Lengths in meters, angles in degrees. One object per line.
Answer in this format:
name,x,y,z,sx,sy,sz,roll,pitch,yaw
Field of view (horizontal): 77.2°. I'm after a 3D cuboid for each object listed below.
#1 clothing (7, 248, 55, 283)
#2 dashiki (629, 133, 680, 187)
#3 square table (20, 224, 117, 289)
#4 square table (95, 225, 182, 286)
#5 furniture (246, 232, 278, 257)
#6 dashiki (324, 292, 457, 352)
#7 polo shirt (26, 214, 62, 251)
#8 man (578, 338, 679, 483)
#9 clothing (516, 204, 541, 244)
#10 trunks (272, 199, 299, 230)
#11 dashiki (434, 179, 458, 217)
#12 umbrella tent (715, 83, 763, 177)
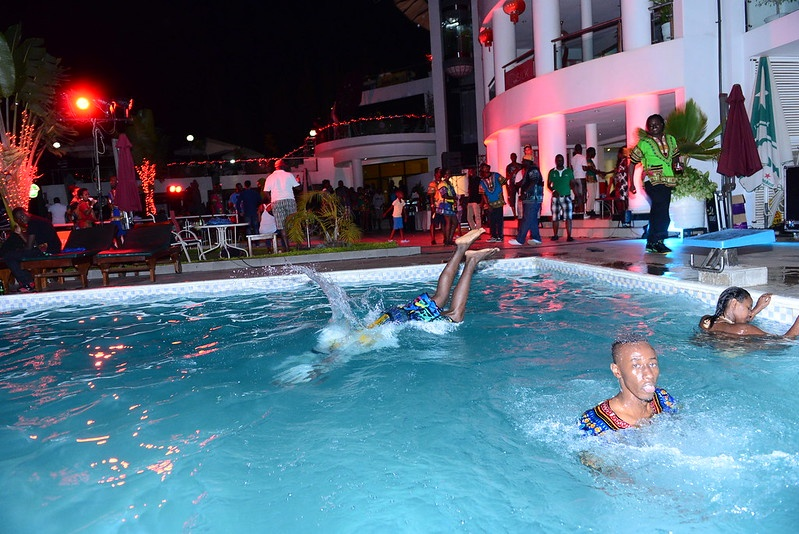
clothing,-7.179,-0.009,9.767,0.758,0.694,0.651,1,2,37
dashiki,4.730,-1.993,9.140,0.990,0.988,0.542,-6,10,-7
square table,-6.606,-0.080,9.953,1.222,0.743,0.719,-1,10,-28
square table,-5.436,-0.345,10.544,1.028,1.109,1.853,-3,8,-5
furniture,-3.468,-0.716,12.708,0.936,0.682,0.869,-1,-3,-16
dashiki,-0.105,0.610,5.828,0.992,0.290,0.695,-21,12,-6
polo shirt,-7.363,-0.621,10.185,0.626,0.894,0.611,14,13,37
man,1.695,0.903,3.627,0.831,0.831,0.401,-7,9,-14
clothing,3.117,-1.101,12.001,0.701,1.134,0.460,0,9,-27
trunks,-2.859,-1.351,12.658,0.694,0.922,0.507,1,19,-2
dashiki,1.336,-1.785,12.879,0.764,1.184,0.965,-4,8,2
umbrella tent,6.379,-2.549,9.317,0.657,1.659,0.456,5,16,33
